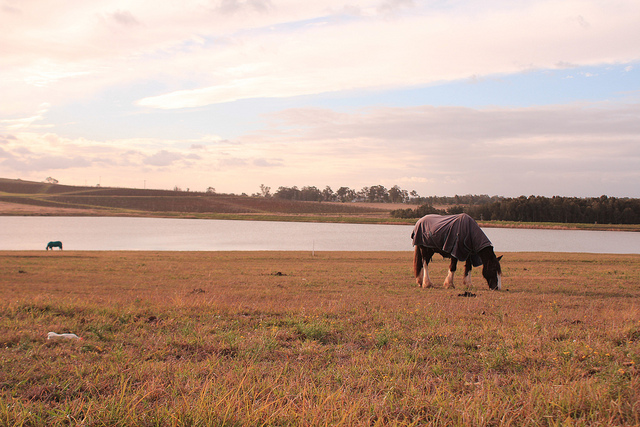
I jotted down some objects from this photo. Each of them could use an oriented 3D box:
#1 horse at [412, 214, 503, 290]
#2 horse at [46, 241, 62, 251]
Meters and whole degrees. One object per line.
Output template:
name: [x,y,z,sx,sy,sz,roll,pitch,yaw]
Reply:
horse: [6.959,2.070,38.698,5.207,3.937,2.406,6,7,40]
horse: [-21.383,2.638,60.920,1.148,0.642,1.398,-1,4,-20]
